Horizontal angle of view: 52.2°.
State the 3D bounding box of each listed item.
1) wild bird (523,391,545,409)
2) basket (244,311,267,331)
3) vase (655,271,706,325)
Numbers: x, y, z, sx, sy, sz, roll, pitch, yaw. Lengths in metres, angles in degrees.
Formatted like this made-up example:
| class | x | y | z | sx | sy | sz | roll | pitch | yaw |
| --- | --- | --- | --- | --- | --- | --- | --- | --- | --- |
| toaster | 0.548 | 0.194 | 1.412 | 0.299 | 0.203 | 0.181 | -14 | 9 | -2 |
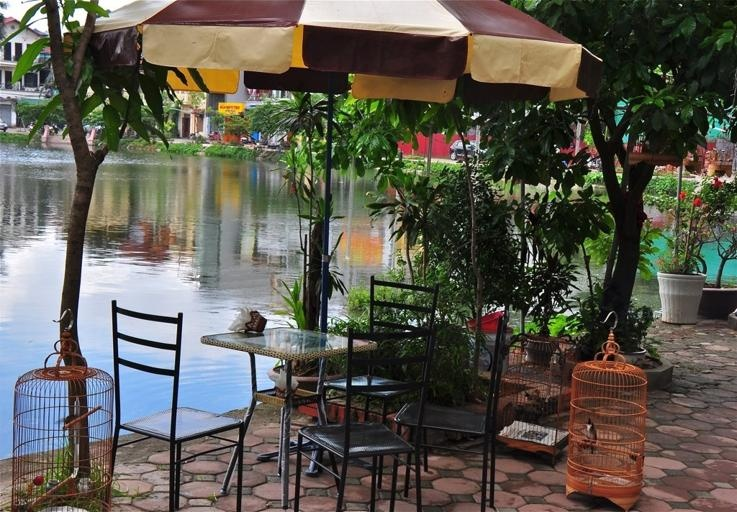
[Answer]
| class | x | y | z | sx | sy | sz | roll | pitch | yaw |
| --- | --- | --- | --- | --- | --- | --- | --- | --- | --- |
| wild bird | 1.565 | 1.372 | 7.207 | 0.193 | 0.173 | 0.052 | -3 | 14 | 3 |
| basket | -0.853 | 0.509 | 5.868 | 0.137 | 0.185 | 0.147 | 10 | 25 | 7 |
| vase | 4.740 | 0.633 | 11.646 | 0.785 | 0.845 | 0.773 | -1 | 1 | -7 |
